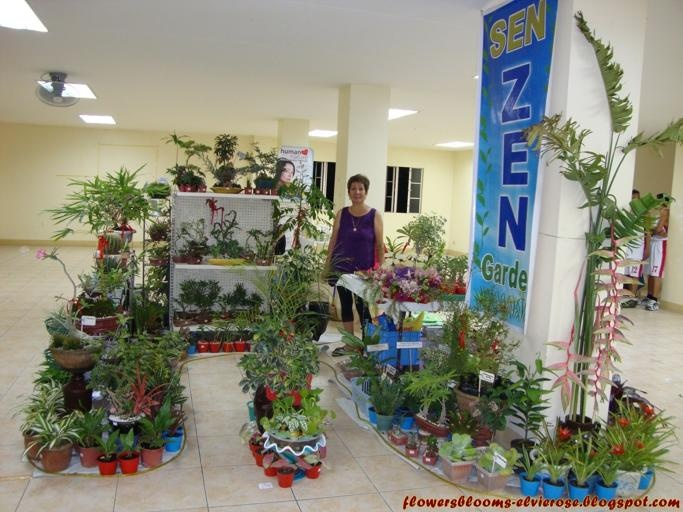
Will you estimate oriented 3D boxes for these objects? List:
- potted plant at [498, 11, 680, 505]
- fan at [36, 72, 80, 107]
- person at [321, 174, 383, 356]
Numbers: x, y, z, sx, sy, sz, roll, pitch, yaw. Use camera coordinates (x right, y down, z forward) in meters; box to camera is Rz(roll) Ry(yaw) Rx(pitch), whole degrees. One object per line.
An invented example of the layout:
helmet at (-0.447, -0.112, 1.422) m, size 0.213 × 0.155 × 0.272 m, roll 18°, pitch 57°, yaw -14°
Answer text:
potted plant at (1.884, -0.107, 3.447) m, size 1.204 × 3.312 × 0.908 m, roll 3°, pitch 8°, yaw 5°
fan at (-4.295, -2.535, 7.129) m, size 0.480 × 0.547 × 1.186 m, roll -3°, pitch 10°, yaw -32°
person at (0.153, 0.183, 5.421) m, size 0.680 × 2.180 × 0.770 m, roll 1°, pitch 9°, yaw -13°
